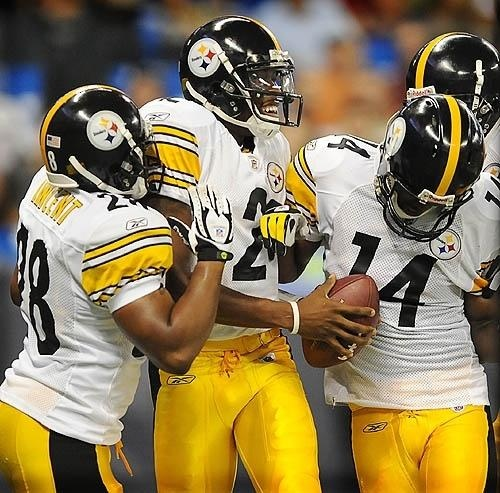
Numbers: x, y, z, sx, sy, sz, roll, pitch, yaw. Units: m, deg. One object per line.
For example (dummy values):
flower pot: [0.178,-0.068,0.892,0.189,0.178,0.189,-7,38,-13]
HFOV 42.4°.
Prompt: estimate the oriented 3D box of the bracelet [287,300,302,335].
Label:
bracelet: [0.144,0.253,2.233,0.035,0.083,0.067,-2,4,-1]

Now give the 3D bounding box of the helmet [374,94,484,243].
helmet: [0.573,-0.222,2.038,0.291,0.366,0.322,25,-24,-11]

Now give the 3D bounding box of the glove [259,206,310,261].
glove: [0.137,-0.046,2.271,0.079,0.171,0.182,15,-15,-41]

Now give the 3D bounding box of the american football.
american football: [0.310,0.280,2.226,0.268,0.383,0.148,3,25,10]

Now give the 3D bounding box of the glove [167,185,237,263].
glove: [-0.141,-0.061,1.976,0.188,0.220,0.068,-1,-25,-32]

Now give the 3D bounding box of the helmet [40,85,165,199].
helmet: [-0.450,-0.306,1.866,0.366,0.325,0.280,-11,19,-20]

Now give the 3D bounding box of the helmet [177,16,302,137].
helmet: [-0.005,-0.660,2.557,0.516,0.416,0.380,18,19,15]
